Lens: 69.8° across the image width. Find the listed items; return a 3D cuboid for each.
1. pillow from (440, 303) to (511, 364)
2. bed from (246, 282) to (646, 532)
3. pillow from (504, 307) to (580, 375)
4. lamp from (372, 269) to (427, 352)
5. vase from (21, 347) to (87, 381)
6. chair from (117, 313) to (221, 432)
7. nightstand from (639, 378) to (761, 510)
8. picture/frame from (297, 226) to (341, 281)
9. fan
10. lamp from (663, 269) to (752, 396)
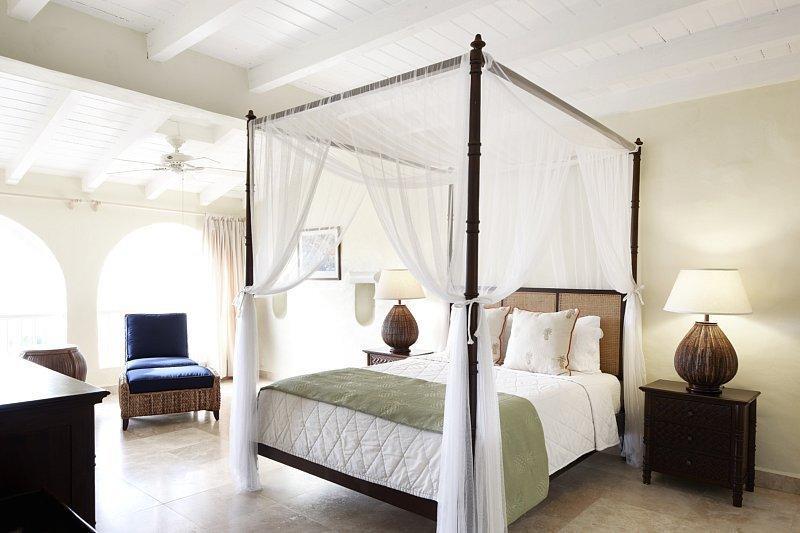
[{"bbox_3d":[0.665,0.543,4.670,0.595,0.507,0.277,-6,-8,31],"label":"pillow"},{"bbox_3d":[0.430,0.965,5.564,3.198,1.615,3.383,-1,0,25],"label":"bed"},{"bbox_3d":[1.348,0.717,5.575,0.647,0.609,0.359,0,-1,34],"label":"pillow"},{"bbox_3d":[0.006,0.531,6.710,0.605,0.905,0.600,-5,-8,39],"label":"lamp"},{"bbox_3d":[-3.295,0.908,5.448,0.443,0.429,0.446,-2,5,-34],"label":"vase"},{"bbox_3d":[-2.939,1.207,7.146,1.053,1.261,1.494,1,-2,-32],"label":"chair"},{"bbox_3d":[2.647,1.523,5.098,0.819,0.858,0.521,1,0,42],"label":"nightstand"},{"bbox_3d":[-0.692,-0.106,4.892,0.368,0.433,0.023,-2,8,17],"label":"picture/frame"},{"bbox_3d":[-2.460,-1.233,6.399,1.267,0.333,1.325,-3,12,-15],"label":"fan"},{"bbox_3d":[2.669,0.543,5.006,0.643,1.052,0.347,6,11,33],"label":"lamp"}]
